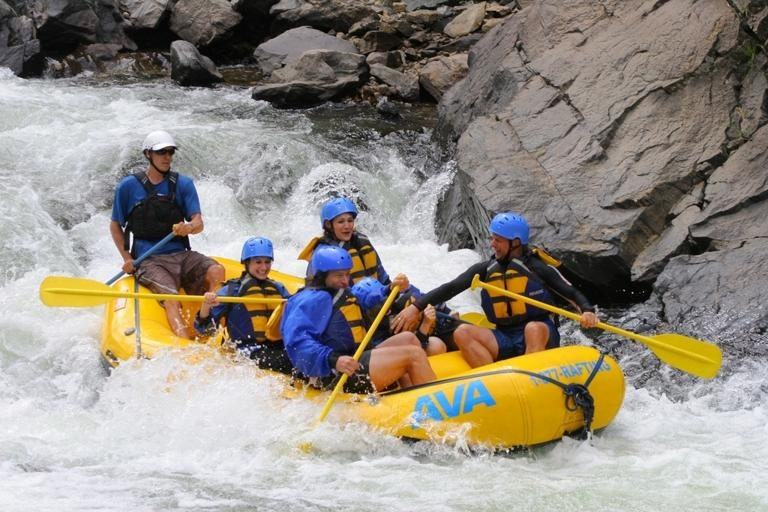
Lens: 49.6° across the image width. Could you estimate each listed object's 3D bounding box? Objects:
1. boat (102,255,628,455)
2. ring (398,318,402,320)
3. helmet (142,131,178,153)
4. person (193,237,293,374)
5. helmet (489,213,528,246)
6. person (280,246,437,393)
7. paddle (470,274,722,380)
[{"bbox_3d":[-0.362,0.890,8.072,5.177,1.108,1.663,7,11,18],"label":"boat"},{"bbox_3d":[0.141,0.570,7.535,0.022,0.021,0.007,-1,0,4],"label":"ring"},{"bbox_3d":[-2.370,-1.230,8.704,0.342,0.226,0.460,0,-11,-24],"label":"helmet"},{"bbox_3d":[-1.390,0.533,8.169,1.136,1.470,0.819,3,-27,-26],"label":"person"},{"bbox_3d":[1.180,-0.267,7.826,0.354,0.257,0.262,-6,21,-17],"label":"helmet"},{"bbox_3d":[-0.288,0.645,7.543,1.429,1.539,1.106,-9,5,-10],"label":"person"},{"bbox_3d":[2.063,0.709,7.989,2.565,0.361,0.272,17,-13,8],"label":"paddle"}]
